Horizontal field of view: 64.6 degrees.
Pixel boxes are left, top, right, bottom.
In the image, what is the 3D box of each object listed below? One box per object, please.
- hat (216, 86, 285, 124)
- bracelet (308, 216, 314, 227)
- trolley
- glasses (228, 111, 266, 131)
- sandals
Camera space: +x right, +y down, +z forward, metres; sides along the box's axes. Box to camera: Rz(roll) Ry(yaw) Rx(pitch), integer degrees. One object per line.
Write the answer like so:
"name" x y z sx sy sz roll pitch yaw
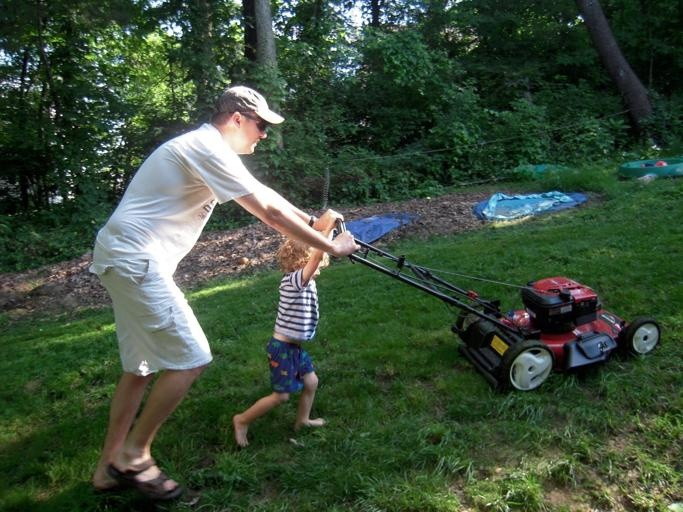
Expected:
"hat" -0.668 -1.202 4.385 0.619 0.231 0.324 -1 14 -20
"bracelet" -0.273 -0.323 5.007 0.084 0.078 0.095 1 -5 -2
"trolley" 1.069 0.549 5.637 3.961 1.521 1.366 -5 27 -7
"glasses" -0.724 -1.060 4.313 0.170 0.043 0.168 19 -7 38
"sandals" -1.420 1.711 4.134 0.797 0.229 0.255 14 25 -13
